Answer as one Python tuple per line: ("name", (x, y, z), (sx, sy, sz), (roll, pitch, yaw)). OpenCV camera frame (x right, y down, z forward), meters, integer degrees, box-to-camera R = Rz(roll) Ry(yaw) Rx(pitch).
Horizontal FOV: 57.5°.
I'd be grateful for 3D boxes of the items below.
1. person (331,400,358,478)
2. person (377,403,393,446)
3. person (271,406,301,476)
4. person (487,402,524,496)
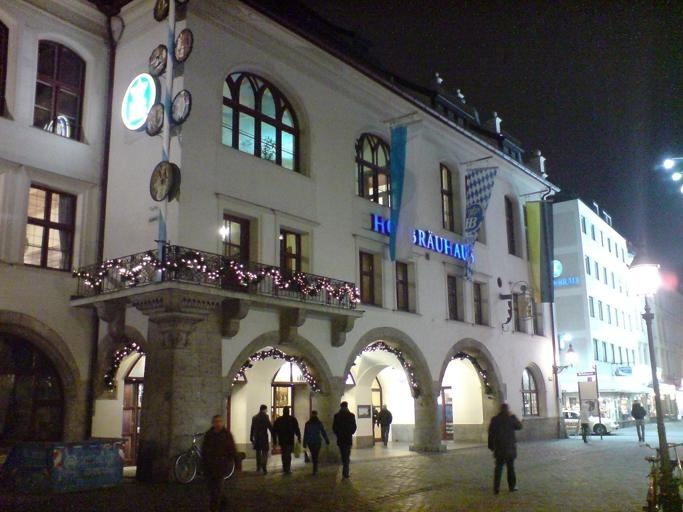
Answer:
("person", (0.100, 5.335, 18.044), (0.634, 2.148, 1.031), (-1, -15, -2))
("person", (1.912, 7.547, 27.544), (0.597, 1.749, 1.206), (-2, -16, 3))
("person", (-1.663, 5.542, 18.629), (0.805, 1.957, 1.076), (1, -16, -7))
("person", (4.025, 4.692, 15.198), (0.797, 2.096, 0.917), (-5, -16, 15))
